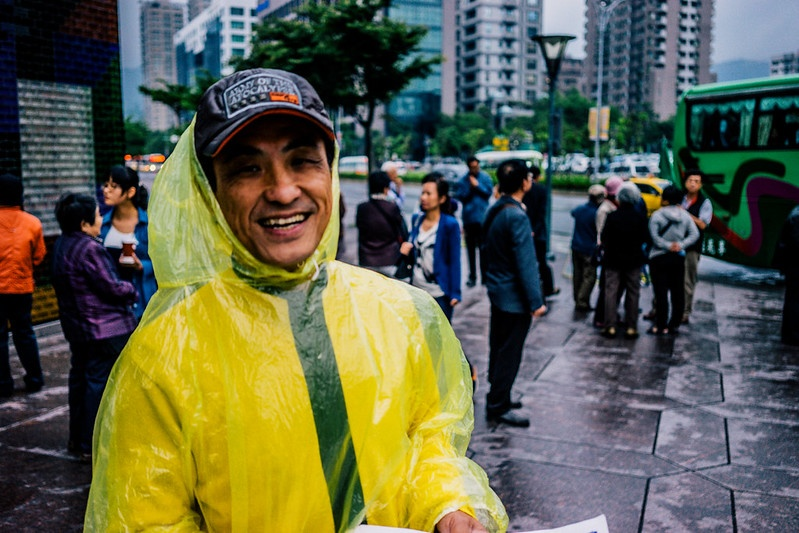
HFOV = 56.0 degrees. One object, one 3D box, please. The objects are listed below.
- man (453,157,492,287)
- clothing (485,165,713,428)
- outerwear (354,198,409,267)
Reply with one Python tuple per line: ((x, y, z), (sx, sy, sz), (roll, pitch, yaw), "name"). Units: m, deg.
((1.320, -0.753, 13.104), (0.646, 2.269, 0.676), (1, -4, -42), "man")
((2.613, 0.457, 9.672), (1.758, 5.244, 1.733), (-14, 24, -29), "clothing")
((-0.252, -0.468, 10.173), (0.837, 1.224, 0.793), (1, 9, 9), "outerwear")
